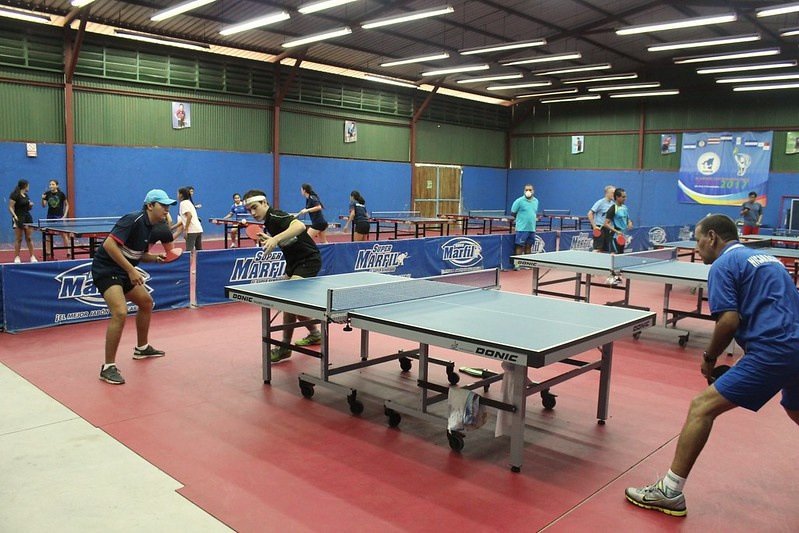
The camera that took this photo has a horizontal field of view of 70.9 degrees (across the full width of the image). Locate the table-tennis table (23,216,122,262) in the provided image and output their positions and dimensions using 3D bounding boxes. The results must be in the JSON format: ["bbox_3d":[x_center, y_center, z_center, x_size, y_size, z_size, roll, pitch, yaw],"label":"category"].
[{"bbox_3d":[-6.206,-0.503,11.021,1.793,0.531,1.037,6,7,37],"label":"table-tennis table"}]

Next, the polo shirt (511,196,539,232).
[{"bbox_3d":[3.116,-1.337,13.787,0.806,0.791,0.466,-2,12,-22],"label":"polo shirt"}]

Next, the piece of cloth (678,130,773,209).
[{"bbox_3d":[12.948,-3.933,22.598,0.164,2.941,3.529,-11,15,-29],"label":"piece of cloth"}]

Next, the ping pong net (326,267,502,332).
[{"bbox_3d":[0.181,0.345,6.227,1.889,0.403,0.616,-8,6,-2],"label":"ping pong net"}]

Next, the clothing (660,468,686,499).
[{"bbox_3d":[2.212,1.763,4.544,0.147,0.217,0.235,22,25,12],"label":"clothing"}]

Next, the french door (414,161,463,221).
[{"bbox_3d":[1.605,-3.376,24.396,0.170,2.658,3.928,6,6,44],"label":"french door"}]

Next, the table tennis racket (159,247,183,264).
[{"bbox_3d":[-2.659,-0.131,6.586,0.180,0.172,0.444,-4,13,-26],"label":"table tennis racket"}]

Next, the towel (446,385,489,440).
[{"bbox_3d":[0.636,1.331,5.310,0.348,0.374,0.411,3,-3,-35],"label":"towel"}]

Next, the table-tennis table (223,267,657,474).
[{"bbox_3d":[0.459,0.900,5.984,3.799,1.468,1.818,8,13,28],"label":"table-tennis table"}]

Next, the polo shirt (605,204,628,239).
[{"bbox_3d":[4.232,-0.887,10.977,0.375,0.688,0.746,-3,3,43],"label":"polo shirt"}]

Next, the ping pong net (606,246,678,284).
[{"bbox_3d":[3.850,-0.078,8.801,0.222,0.301,1.385,2,-6,-17],"label":"ping pong net"}]
